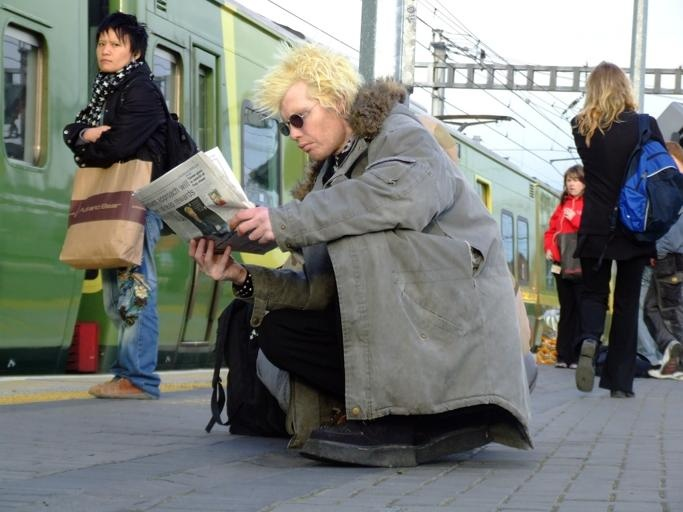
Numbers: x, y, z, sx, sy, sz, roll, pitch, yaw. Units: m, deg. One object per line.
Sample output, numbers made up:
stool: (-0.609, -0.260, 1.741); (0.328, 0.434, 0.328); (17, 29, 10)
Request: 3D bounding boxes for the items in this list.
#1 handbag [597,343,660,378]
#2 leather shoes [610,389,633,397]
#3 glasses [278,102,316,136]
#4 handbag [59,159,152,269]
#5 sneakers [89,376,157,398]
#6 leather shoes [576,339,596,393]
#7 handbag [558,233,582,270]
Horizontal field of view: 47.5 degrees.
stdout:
handbag: (2.846, 1.083, 7.690); (0.623, 0.249, 0.652); (0, -4, 44)
leather shoes: (2.105, 1.028, 5.832); (0.159, 0.076, 0.063); (-3, -2, 19)
glasses: (-0.217, -0.626, 3.651); (0.129, 0.045, 0.121); (-37, 10, -30)
handbag: (-1.553, -0.259, 4.895); (0.521, 0.738, 0.199); (-9, -27, 13)
sneakers: (-1.443, 0.875, 5.069); (0.376, 0.164, 0.141); (8, -9, -7)
leather shoes: (1.805, 0.802, 5.708); (0.132, 0.403, 0.178); (1, -4, 23)
handbag: (2.705, -0.125, 9.094); (0.186, 0.351, 0.224); (-20, 13, -10)
